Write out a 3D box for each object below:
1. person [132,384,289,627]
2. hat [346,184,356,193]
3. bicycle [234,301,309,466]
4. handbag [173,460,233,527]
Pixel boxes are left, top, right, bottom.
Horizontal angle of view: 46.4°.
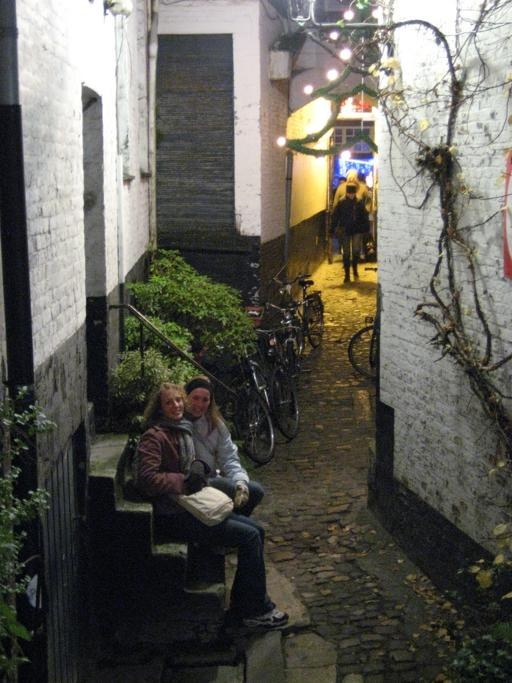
[{"bbox_3d":[-0.358,1.164,4.386,0.989,1.687,0.512,-3,12,24],"label":"person"},{"bbox_3d":[2.645,-4.233,16.602,0.232,0.174,0.232,7,15,27],"label":"hat"},{"bbox_3d":[0.543,0.612,8.016,0.900,1.188,2.068,-9,5,10],"label":"bicycle"},{"bbox_3d":[-0.460,1.111,4.393,0.453,0.186,0.535,-4,35,-37],"label":"handbag"}]
